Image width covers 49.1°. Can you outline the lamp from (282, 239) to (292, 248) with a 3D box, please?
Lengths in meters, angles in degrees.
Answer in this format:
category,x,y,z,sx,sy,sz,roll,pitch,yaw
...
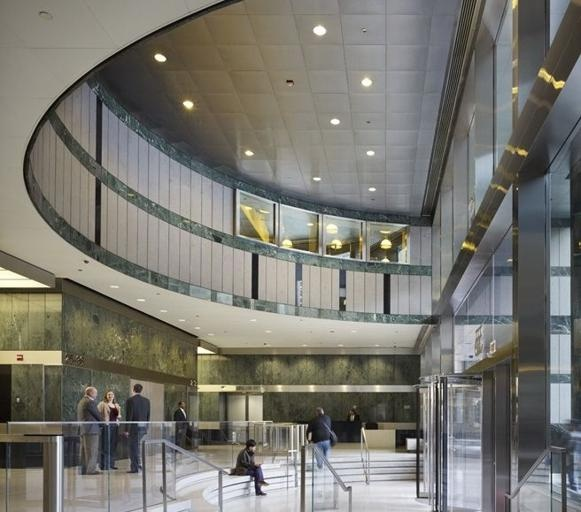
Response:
category,x,y,z,sx,sy,sz,roll,pitch,yaw
lamp,-0.109,-0.374,19.505,0.210,0.258,0.241,0,-8,-2

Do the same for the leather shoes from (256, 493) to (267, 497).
category,x,y,z,sx,sy,sz,roll,pitch,yaw
leather shoes,-0.674,5.534,14.716,0.206,0.113,0.074,1,-2,-17

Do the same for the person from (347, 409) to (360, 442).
category,x,y,z,sx,sy,sz,roll,pitch,yaw
person,2.378,6.510,24.379,0.676,1.330,0.733,-2,-7,17

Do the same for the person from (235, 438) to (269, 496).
category,x,y,z,sx,sy,sz,roll,pitch,yaw
person,-0.926,4.955,14.731,0.547,1.268,0.878,-9,-14,26

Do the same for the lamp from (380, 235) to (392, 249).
category,x,y,z,sx,sy,sz,roll,pitch,yaw
lamp,3.165,-0.400,21.132,0.302,0.392,0.200,-10,-6,4

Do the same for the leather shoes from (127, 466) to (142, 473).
category,x,y,z,sx,sy,sz,roll,pitch,yaw
leather shoes,-1.935,2.679,7.913,0.129,0.102,0.050,8,-15,-9
